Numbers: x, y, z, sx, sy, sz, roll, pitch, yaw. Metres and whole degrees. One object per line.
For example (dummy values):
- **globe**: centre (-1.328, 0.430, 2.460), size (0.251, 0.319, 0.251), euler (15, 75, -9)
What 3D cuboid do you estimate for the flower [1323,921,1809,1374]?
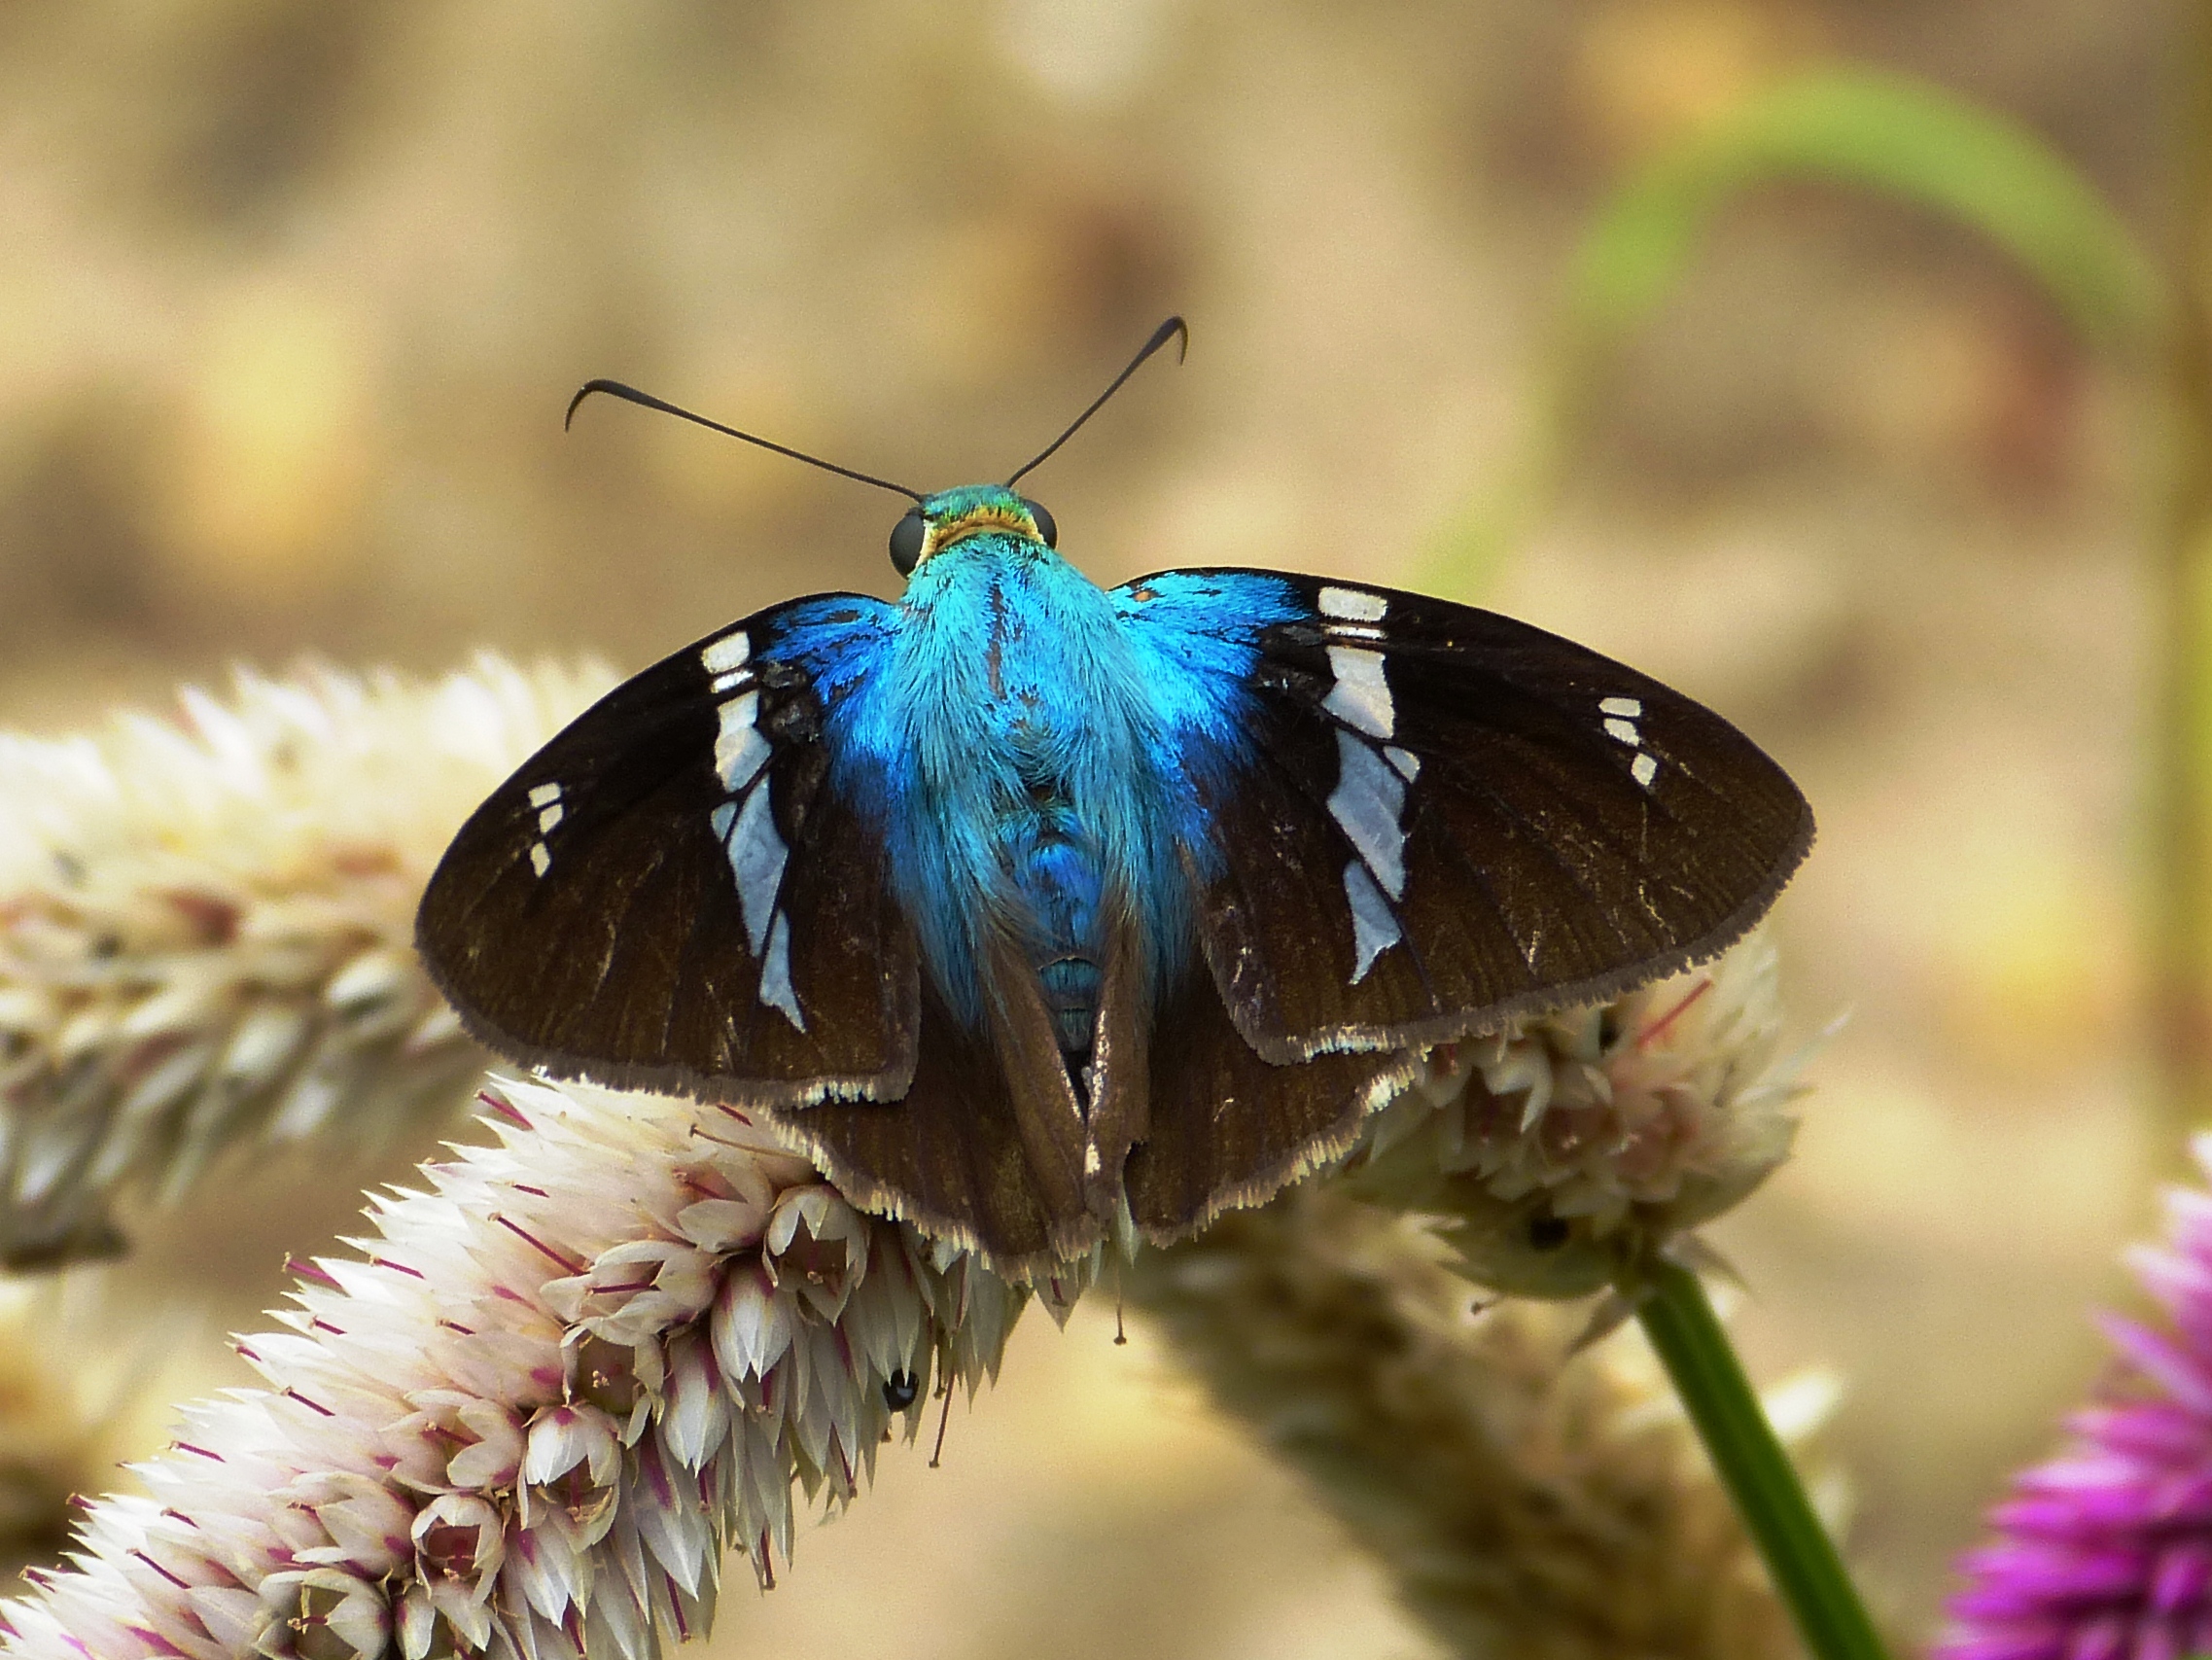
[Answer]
- **flower**: centre (0.440, 0.288, 2.251), size (0.402, 0.318, 0.202), euler (-9, -12, 8)
